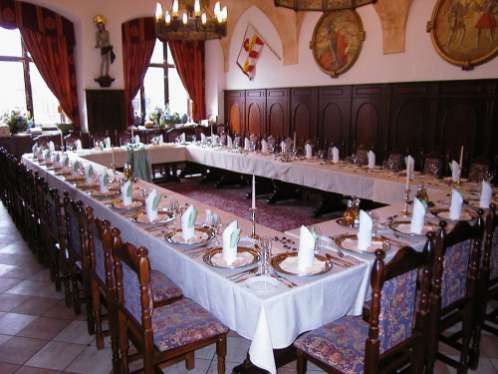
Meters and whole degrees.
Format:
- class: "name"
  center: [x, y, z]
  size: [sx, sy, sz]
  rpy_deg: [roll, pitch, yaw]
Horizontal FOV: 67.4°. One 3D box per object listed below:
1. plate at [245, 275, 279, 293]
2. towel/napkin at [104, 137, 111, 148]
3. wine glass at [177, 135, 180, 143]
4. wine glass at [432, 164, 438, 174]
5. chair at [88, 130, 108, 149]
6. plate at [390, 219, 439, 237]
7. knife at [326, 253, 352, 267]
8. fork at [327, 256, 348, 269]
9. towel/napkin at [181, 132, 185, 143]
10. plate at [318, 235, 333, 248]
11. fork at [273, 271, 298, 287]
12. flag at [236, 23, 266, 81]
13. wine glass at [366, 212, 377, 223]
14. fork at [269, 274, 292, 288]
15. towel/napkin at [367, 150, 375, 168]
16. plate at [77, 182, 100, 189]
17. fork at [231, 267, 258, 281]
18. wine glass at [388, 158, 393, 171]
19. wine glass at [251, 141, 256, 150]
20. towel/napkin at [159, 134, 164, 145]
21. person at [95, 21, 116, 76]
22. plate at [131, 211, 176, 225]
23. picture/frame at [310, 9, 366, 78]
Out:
- class: "plate"
  center: [0.082, 0.621, 2.391]
  size: [0.219, 0.035, 0.157]
  rpy_deg: [-3, 13, 6]
- class: "towel/napkin"
  center: [-2.987, -0.939, 7.953]
  size: [0.096, 0.221, 0.399]
  rpy_deg: [-8, 13, -21]
- class: "wine glass"
  center: [-1.733, -1.176, 9.308]
  size: [0.093, 0.145, 0.240]
  rpy_deg: [-1, 21, -10]
- class: "wine glass"
  center: [2.712, -0.253, 5.456]
  size: [0.065, 0.128, 0.109]
  rpy_deg: [-1, 12, 10]
- class: "chair"
  center: [-3.502, -1.086, 8.698]
  size: [0.593, 0.440, 0.567]
  rpy_deg: [9, 12, 41]
- class: "plate"
  center: [1.377, 0.351, 3.180]
  size: [0.200, 0.034, 0.218]
  rpy_deg: [-4, 9, -5]
- class: "knife"
  center: [0.639, 0.508, 2.666]
  size: [0.062, 0.016, 0.208]
  rpy_deg: [-8, 11, -17]
- class: "fork"
  center: [0.632, 0.536, 2.649]
  size: [0.047, 0.015, 0.190]
  rpy_deg: [-4, 9, -11]
- class: "towel/napkin"
  center: [-1.574, -1.179, 9.006]
  size: [0.108, 0.215, 0.310]
  rpy_deg: [-6, 13, -11]
- class: "plate"
  center: [0.595, 0.411, 2.949]
  size: [0.100, 0.023, 0.102]
  rpy_deg: [-20, 23, -35]
- class: "fork"
  center: [0.234, 0.614, 2.436]
  size: [0.055, 0.024, 0.197]
  rpy_deg: [-10, 19, -23]
- class: "flag"
  center: [0.101, -4.026, 10.989]
  size: [0.152, 1.960, 0.985]
  rpy_deg: [-11, 33, -41]
- class: "wine glass"
  center: [0.993, 0.238, 3.031]
  size: [0.072, 0.043, 0.101]
  rpy_deg: [-1, 15, -11]
- class: "fork"
  center: [0.225, 0.614, 2.434]
  size: [0.044, 0.020, 0.158]
  rpy_deg: [-10, 22, -29]
- class: "towel/napkin"
  center: [1.891, -0.431, 5.767]
  size: [0.090, 0.249, 0.295]
  rpy_deg: [1, 13, 17]
- class: "plate"
  center: [-2.039, -0.013, 4.760]
  size: [0.151, 0.032, 0.123]
  rpy_deg: [4, 11, -12]
- class: "fork"
  center: [-0.026, 0.591, 2.518]
  size: [0.065, 0.031, 0.240]
  rpy_deg: [22, 21, 33]
- class: "wine glass"
  center: [2.115, -0.329, 5.569]
  size: [0.084, 0.116, 0.244]
  rpy_deg: [2, 14, 24]
- class: "wine glass"
  center: [0.107, -0.846, 7.605]
  size: [0.111, 0.125, 0.215]
  rpy_deg: [-1, -20, 2]
- class: "towel/napkin"
  center: [-2.043, -1.099, 8.712]
  size: [0.094, 0.210, 0.464]
  rpy_deg: [-6, 13, -13]
- class: "person"
  center: [-3.754, -3.609, 9.844]
  size: [0.479, 1.349, 0.294]
  rpy_deg: [-8, 13, -21]
- class: "plate"
  center: [-0.878, 0.295, 3.501]
  size: [0.185, 0.031, 0.187]
  rpy_deg: [-14, 24, -43]
- class: "picture/frame"
  center: [2.085, -3.380, 8.873]
  size: [0.210, 1.508, 1.445]
  rpy_deg: [-13, 15, -40]
